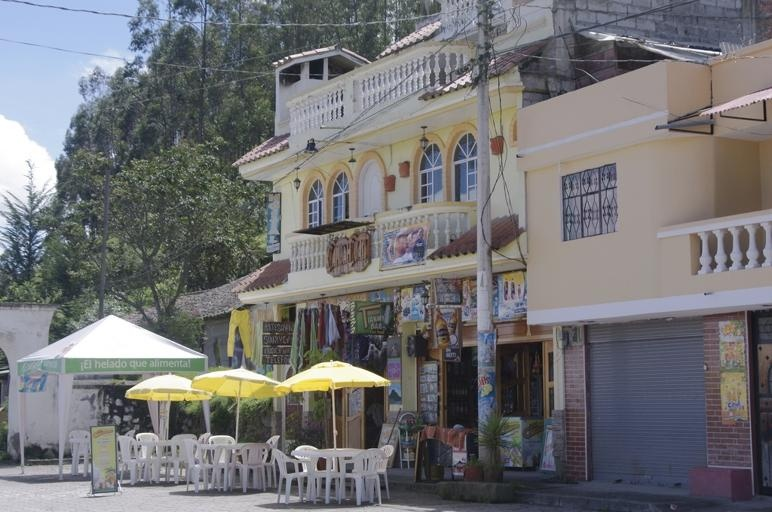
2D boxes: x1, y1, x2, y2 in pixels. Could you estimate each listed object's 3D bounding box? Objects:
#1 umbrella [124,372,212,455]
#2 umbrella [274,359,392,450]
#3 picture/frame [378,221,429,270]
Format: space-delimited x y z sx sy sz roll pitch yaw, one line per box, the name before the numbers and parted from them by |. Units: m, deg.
umbrella | -6.847 4.232 42.325 2.228 2.208 2.288 1 0 -29
umbrella | -1.554 3.691 39.008 2.671 2.688 2.760 8 -14 -30
picture/frame | 0.536 -0.314 41.535 1.069 1.711 0.974 4 -1 -18
